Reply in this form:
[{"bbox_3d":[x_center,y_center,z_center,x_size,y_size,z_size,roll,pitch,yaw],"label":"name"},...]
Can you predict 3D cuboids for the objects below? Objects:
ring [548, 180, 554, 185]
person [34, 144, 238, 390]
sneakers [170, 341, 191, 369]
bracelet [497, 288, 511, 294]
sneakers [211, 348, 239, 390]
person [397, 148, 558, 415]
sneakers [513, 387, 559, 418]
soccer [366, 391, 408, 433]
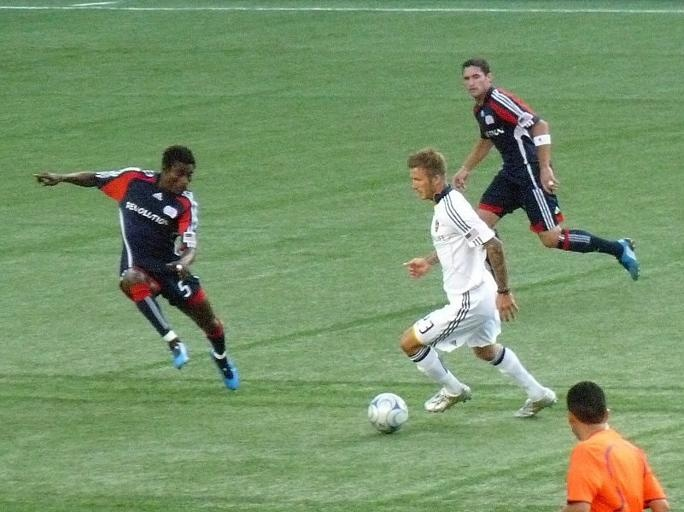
[{"bbox_3d":[2.265,-0.785,15.896,0.067,0.030,0.053,3,2,6],"label":"ring"},{"bbox_3d":[-1.787,0.139,15.193,1.073,2.542,1.060,-14,14,-3],"label":"person"},{"bbox_3d":[-1.654,1.006,14.962,0.146,0.299,0.160,-15,14,-7],"label":"sneakers"},{"bbox_3d":[1.634,0.359,14.857,0.101,0.033,0.066,1,5,22],"label":"bracelet"},{"bbox_3d":[-1.182,1.161,15.118,0.208,0.463,0.207,-35,21,8],"label":"sneakers"},{"bbox_3d":[1.153,0.277,14.529,1.355,2.727,0.814,-12,15,1],"label":"person"},{"bbox_3d":[1.912,1.447,14.555,0.483,0.158,0.250,-22,-7,7],"label":"sneakers"},{"bbox_3d":[0.343,1.551,14.424,0.566,0.356,0.439,9,12,0],"label":"soccer"}]
